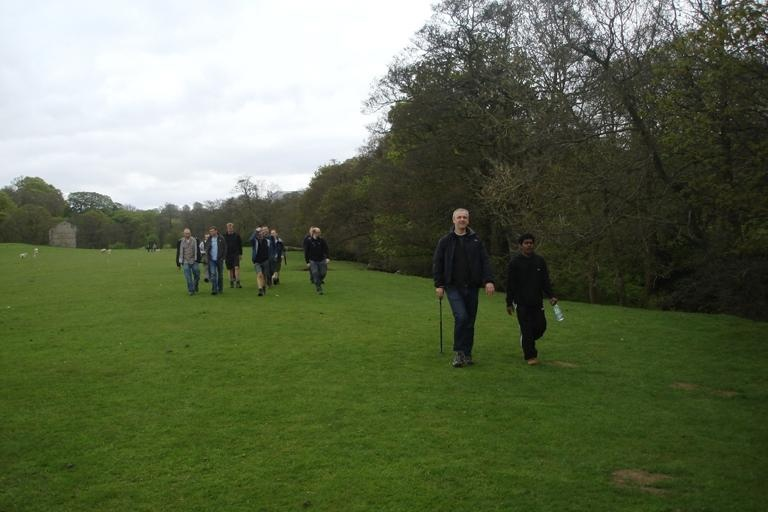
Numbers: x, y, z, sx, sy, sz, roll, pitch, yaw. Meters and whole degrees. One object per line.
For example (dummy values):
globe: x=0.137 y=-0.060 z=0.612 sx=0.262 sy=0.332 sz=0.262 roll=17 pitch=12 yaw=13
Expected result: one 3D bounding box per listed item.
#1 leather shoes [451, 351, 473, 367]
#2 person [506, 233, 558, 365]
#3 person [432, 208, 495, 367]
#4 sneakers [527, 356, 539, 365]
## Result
leather shoes: x=1.560 y=2.081 z=11.899 sx=0.219 sy=0.208 sz=0.464 roll=-4 pitch=-13 yaw=21
person: x=3.056 y=0.824 z=12.495 sx=0.990 sy=2.649 sz=1.426 roll=3 pitch=9 yaw=13
person: x=1.552 y=0.631 z=11.863 sx=1.159 sy=3.065 sz=0.780 roll=1 pitch=9 yaw=4
sneakers: x=3.029 y=2.129 z=12.128 sx=0.282 sy=0.185 sz=0.096 roll=3 pitch=3 yaw=-10
